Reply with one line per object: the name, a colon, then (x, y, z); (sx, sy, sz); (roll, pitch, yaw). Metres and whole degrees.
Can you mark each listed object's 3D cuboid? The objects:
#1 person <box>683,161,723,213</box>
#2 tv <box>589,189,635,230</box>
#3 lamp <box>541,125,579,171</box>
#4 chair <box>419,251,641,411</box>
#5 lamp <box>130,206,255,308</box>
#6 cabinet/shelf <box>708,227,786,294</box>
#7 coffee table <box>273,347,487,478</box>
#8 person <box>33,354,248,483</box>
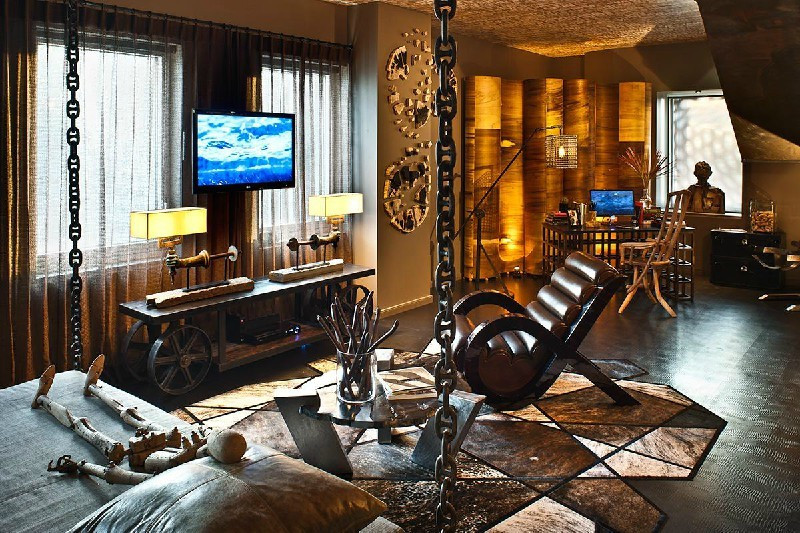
person: (4.910, -1.249, 8.549); (0.528, 0.784, 0.370); (8, 17, 28)
tv: (3.093, -0.828, 7.836); (0.740, 0.499, 0.213); (0, -4, -7)
lamp: (2.429, -1.737, 8.084); (0.516, 0.636, 0.981); (4, 15, 16)
chair: (1.107, 0.476, 4.604); (1.493, 1.047, 1.216); (-1, 11, 6)
lamp: (-1.955, -0.083, 4.961); (0.327, 0.775, 0.978); (6, 9, 37)
cabinet/shelf: (5.171, -0.114, 7.829); (0.567, 0.852, 0.977); (-13, 13, -28)
coffee table: (-0.133, 1.056, 3.487); (1.078, 0.441, 0.934); (-2, 3, -33)
person: (-1.337, 0.841, 2.667); (0.943, 0.252, 0.669); (16, 14, 33)
